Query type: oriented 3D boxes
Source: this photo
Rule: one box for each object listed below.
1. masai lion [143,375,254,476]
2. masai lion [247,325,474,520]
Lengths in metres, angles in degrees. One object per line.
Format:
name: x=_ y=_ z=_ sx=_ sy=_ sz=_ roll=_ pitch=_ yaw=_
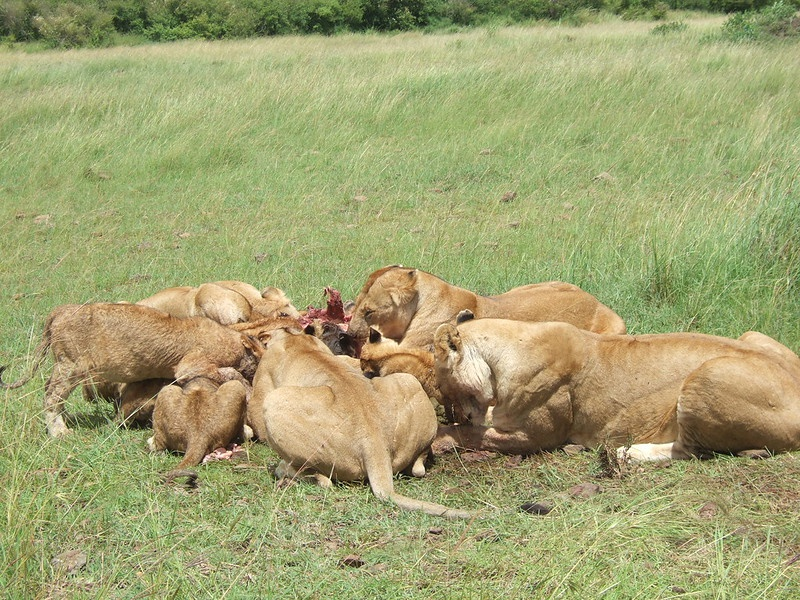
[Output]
masai lion: x=-2.002 y=1.141 z=10.825 sx=0.574 sy=0.443 sz=1.081 roll=5 pitch=33 yaw=-3
masai lion: x=-0.501 y=1.139 z=10.174 sx=1.128 sy=1.034 sz=2.210 roll=-8 pitch=17 yaw=-31
